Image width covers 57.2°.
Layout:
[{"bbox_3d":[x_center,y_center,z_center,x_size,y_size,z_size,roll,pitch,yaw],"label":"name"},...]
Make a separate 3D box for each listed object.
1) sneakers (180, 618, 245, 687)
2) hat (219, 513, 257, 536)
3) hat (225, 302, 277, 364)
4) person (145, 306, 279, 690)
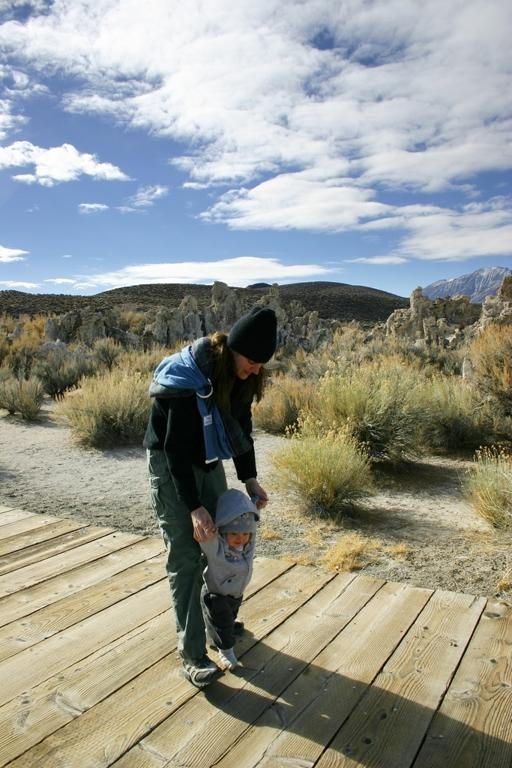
[{"bbox_3d":[-0.161,1.111,1.849,0.093,0.271,0.190,32,38,-11],"label":"sneakers"},{"bbox_3d":[-0.066,0.524,1.849,0.092,0.067,0.115,-3,1,-35],"label":"hat"},{"bbox_3d":[-0.014,-0.186,1.741,0.181,0.215,0.162,1,1,-2],"label":"hat"},{"bbox_3d":[-0.169,0.400,1.857,0.523,1.299,0.465,-2,-2,16],"label":"person"}]
